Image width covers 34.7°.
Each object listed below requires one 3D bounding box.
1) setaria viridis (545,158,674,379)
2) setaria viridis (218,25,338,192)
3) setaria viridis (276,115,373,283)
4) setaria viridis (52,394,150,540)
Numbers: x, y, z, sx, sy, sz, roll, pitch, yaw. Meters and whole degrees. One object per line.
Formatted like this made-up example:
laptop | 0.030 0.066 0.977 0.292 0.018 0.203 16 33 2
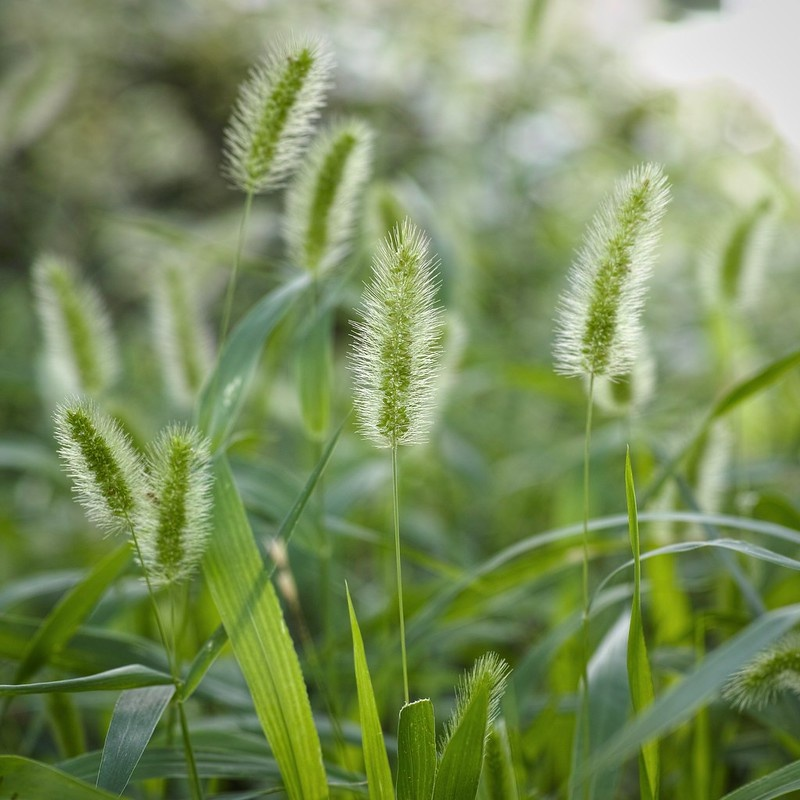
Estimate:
setaria viridis | 0.206 -0.126 1.259 0.083 0.202 0.117 11 30 5
setaria viridis | -0.126 -0.291 1.327 0.100 0.165 0.145 5 30 -5
setaria viridis | -0.093 -0.218 1.482 0.076 0.220 0.065 13 46 -7
setaria viridis | -0.285 0.070 1.276 0.070 0.152 0.069 -29 0 -13
